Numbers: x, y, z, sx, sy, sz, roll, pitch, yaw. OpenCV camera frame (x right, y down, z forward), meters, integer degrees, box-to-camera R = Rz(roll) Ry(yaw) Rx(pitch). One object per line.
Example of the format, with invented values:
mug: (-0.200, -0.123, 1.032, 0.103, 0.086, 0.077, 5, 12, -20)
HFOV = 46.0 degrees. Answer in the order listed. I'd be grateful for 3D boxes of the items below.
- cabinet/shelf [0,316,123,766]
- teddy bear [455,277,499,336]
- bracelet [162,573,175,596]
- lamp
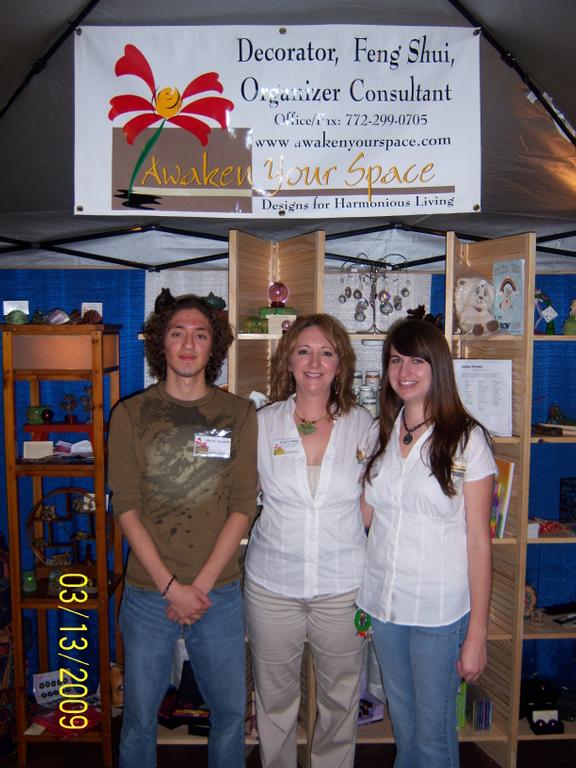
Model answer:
cabinet/shelf: (-1.127, 0.736, 3.432, 0.597, 2.065, 1.122, -2, 4, -13)
teddy bear: (0.788, -0.327, 2.811, 0.173, 0.230, 0.153, 6, -1, -19)
bracelet: (-0.389, 0.661, 2.245, 0.017, 0.055, 0.057, 28, -4, 4)
lamp: (0.462, -0.514, 3.730, 0.478, 0.459, 0.506, 8, 12, 44)
